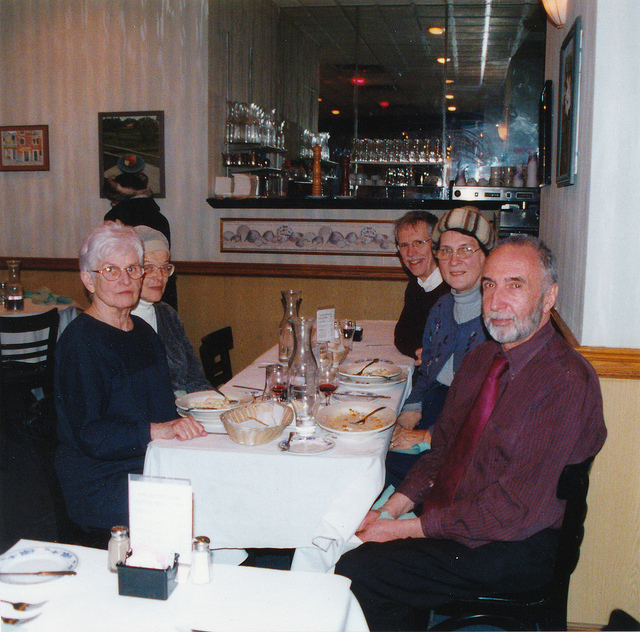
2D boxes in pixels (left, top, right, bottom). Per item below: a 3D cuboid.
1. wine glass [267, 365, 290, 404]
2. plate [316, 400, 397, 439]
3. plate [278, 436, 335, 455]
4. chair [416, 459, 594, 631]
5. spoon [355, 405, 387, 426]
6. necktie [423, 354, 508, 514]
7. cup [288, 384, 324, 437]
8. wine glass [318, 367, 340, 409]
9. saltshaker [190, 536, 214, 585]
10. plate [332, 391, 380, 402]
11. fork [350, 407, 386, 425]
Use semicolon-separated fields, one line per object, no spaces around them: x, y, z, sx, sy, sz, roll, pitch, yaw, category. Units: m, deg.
-0.131;0.235;2.152;0.085;0.160;0.089;1;-2;0;wine glass
0.124;0.330;2.067;0.270;0.047;0.308;-2;6;-23;plate
-0.030;0.371;1.878;0.142;0.014;0.168;0;6;2;plate
0.553;0.627;2.012;0.435;0.814;0.428;2;1;16;chair
0.169;0.315;2.102;0.033;0.029;0.187;28;26;22;spoon
0.419;0.346;1.904;0.234;0.452;0.133;-2;6;-17;necktie
-0.038;0.282;2.010;0.094;0.172;0.111;3;11;15;cup
0.029;0.258;2.353;0.085;0.166;0.104;2;11;11;wine glass
-0.222;0.460;1.236;0.049;0.087;0.035;-3;6;-29;saltshaker
0.130;0.295;2.379;0.168;0.014;0.181;0;6;5;plate
0.158;0.321;2.103;0.033;0.032;0.204;27;22;22;fork
